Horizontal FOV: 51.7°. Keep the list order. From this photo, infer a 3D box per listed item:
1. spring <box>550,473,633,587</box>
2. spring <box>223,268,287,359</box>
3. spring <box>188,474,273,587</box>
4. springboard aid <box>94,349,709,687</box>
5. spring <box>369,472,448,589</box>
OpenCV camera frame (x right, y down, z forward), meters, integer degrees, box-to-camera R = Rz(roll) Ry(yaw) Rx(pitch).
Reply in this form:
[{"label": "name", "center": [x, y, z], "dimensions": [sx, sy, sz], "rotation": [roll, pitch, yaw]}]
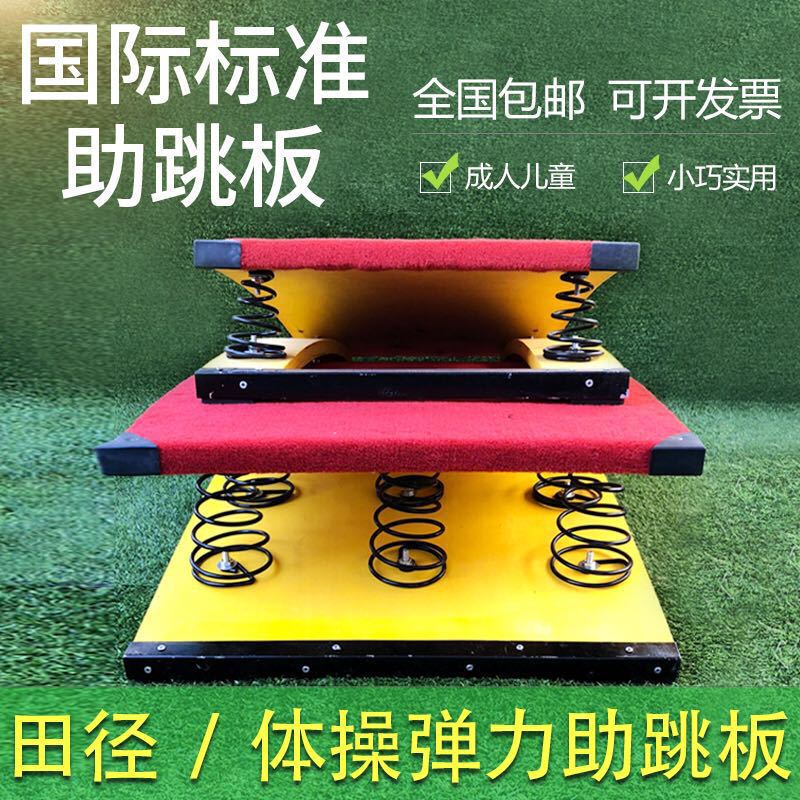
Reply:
[{"label": "spring", "center": [0.451, 0.305, 1.897], "dimensions": [0.163, 0.170, 0.163], "rotation": [6, 1, -43]}, {"label": "spring", "center": [-0.332, -0.193, 1.894], "dimensions": [0.204, 0.162, 0.164], "rotation": [8, 17, 1]}, {"label": "spring", "center": [-0.376, 0.323, 1.858], "dimensions": [0.187, 0.155, 0.161], "rotation": [16, 15, 15]}, {"label": "springboard aid", "center": [0.019, 0.126, 1.876], "dimensions": [1.003, 0.281, 0.834], "rotation": [0, 18, -1]}, {"label": "spring", "center": [0.020, 0.283, 2.050], "dimensions": [0.191, 0.186, 0.142], "rotation": [0, 19, -11]}]
